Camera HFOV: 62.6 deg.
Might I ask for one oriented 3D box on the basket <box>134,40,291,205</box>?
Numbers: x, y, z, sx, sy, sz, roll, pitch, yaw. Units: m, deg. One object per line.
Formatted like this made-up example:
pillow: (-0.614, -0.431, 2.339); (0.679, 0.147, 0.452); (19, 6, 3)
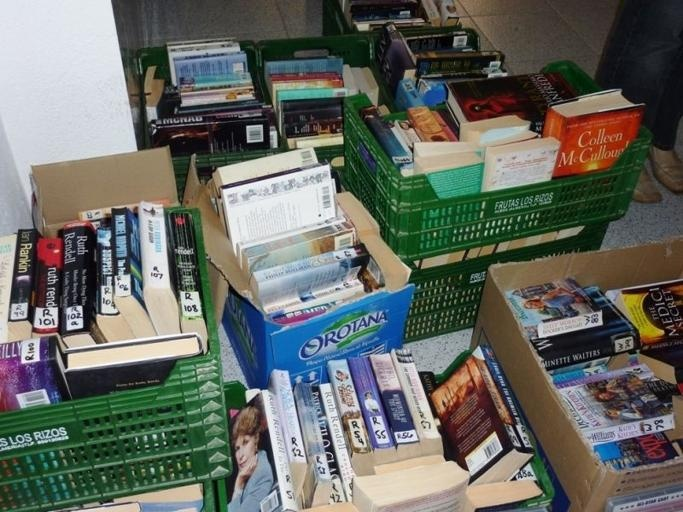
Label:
basket: (-0.619, -0.572, 2.663); (0.647, 0.275, 0.821); (-9, 66, -14)

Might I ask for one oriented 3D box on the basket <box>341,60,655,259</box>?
basket: (0.581, -0.303, 2.170); (1.040, 0.432, 0.627); (-11, 62, -12)
